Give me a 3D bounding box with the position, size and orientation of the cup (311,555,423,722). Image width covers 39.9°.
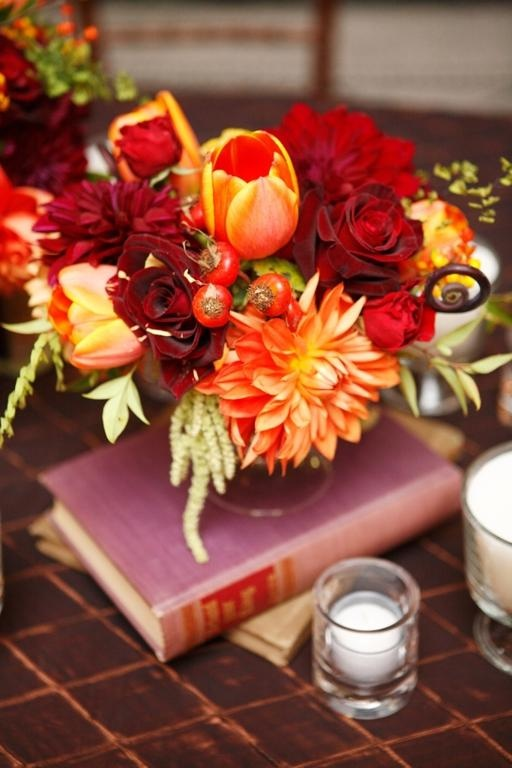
[{"bbox_3d":[0.059,0.135,0.378,0.058,0.061,0.058,-3,24,1],"label":"cup"}]

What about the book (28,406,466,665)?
[{"bbox_3d":[0.012,0.078,0.448,0.191,0.041,0.138,-21,33,-25],"label":"book"}]

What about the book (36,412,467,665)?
[{"bbox_3d":[0.010,0.079,0.451,0.190,0.042,0.138,-21,32,-25],"label":"book"}]
